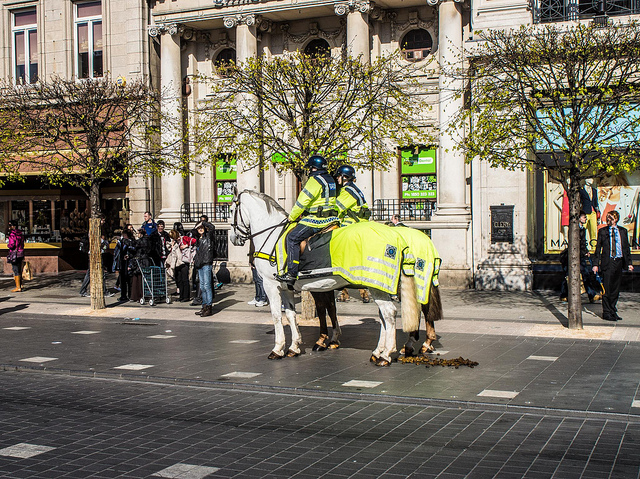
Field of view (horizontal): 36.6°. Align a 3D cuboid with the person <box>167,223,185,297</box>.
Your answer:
[{"bbox_3d":[-4.054,0.567,27.368,0.637,2.009,0.623,-8,28,-6],"label":"person"}]

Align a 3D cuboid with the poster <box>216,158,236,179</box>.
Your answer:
[{"bbox_3d":[-3.223,-2.454,33.653,0.914,0.894,0.233,3,-1,25],"label":"poster"}]

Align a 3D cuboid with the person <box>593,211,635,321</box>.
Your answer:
[{"bbox_3d":[6.852,0.617,22.811,0.759,2.307,0.797,-3,1,25],"label":"person"}]

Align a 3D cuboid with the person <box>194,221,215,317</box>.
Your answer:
[{"bbox_3d":[-2.963,0.740,24.805,0.575,2.393,1.291,-3,0,-8],"label":"person"}]

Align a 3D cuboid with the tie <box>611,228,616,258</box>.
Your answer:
[{"bbox_3d":[6.868,0.078,22.732,0.110,0.592,0.076,-3,0,13],"label":"tie"}]

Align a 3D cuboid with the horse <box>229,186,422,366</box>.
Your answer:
[{"bbox_3d":[0.004,0.677,19.121,4.482,3.397,1.100,3,2,23],"label":"horse"}]

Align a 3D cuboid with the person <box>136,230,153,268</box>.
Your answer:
[{"bbox_3d":[-4.826,0.255,26.613,0.357,1.032,0.604,-3,0,3],"label":"person"}]

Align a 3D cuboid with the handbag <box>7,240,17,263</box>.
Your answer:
[{"bbox_3d":[-9.578,0.458,30.304,0.267,0.655,0.301,-3,0,-19],"label":"handbag"}]
